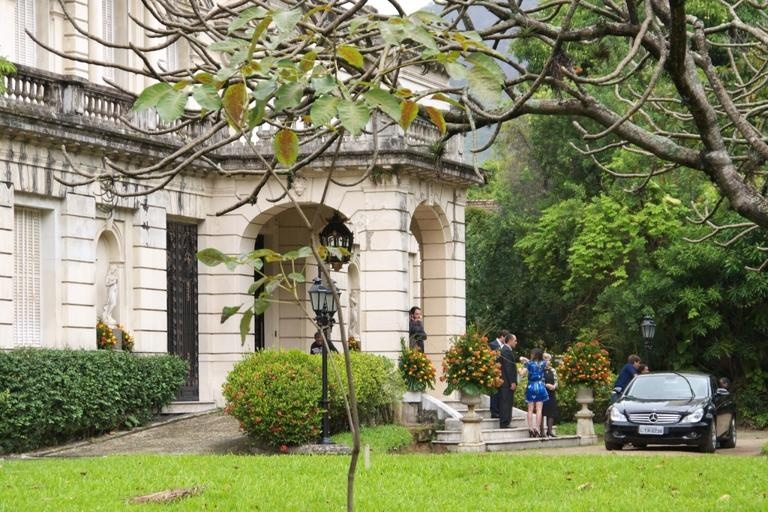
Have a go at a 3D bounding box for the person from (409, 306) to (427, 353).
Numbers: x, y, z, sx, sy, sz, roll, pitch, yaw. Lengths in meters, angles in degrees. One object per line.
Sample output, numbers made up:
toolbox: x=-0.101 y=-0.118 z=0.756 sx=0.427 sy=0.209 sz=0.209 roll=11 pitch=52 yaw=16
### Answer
person: x=0.998 y=2.058 z=37.383 sx=0.578 sy=1.535 sz=0.517 roll=-3 pitch=32 yaw=1

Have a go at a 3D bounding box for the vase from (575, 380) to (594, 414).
vase: x=5.530 y=3.869 z=37.060 sx=0.711 sy=1.008 sz=0.757 roll=0 pitch=-12 yaw=2

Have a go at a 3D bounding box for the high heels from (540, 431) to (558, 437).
high heels: x=4.382 y=4.588 z=35.656 sx=0.181 sy=0.244 sz=0.519 roll=10 pitch=-16 yaw=-43

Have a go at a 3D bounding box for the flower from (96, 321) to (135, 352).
flower: x=-6.961 y=2.045 z=35.029 sx=0.806 sy=0.579 sz=0.734 roll=4 pitch=-5 yaw=-39

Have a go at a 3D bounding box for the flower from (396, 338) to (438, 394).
flower: x=0.909 y=3.021 z=35.991 sx=0.948 sy=1.143 sz=1.071 roll=-4 pitch=-25 yaw=-11

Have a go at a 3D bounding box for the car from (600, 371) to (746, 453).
car: x=6.974 y=3.661 z=32.766 sx=3.269 sy=2.091 sz=2.182 roll=0 pitch=-11 yaw=-6

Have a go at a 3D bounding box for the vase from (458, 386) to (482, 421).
vase: x=2.143 y=3.520 z=33.084 sx=0.597 sy=0.767 sz=0.640 roll=0 pitch=-12 yaw=-1

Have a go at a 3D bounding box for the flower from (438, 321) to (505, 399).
flower: x=2.186 y=2.578 z=33.752 sx=1.128 sy=1.466 sz=1.162 roll=1 pitch=-9 yaw=-35
